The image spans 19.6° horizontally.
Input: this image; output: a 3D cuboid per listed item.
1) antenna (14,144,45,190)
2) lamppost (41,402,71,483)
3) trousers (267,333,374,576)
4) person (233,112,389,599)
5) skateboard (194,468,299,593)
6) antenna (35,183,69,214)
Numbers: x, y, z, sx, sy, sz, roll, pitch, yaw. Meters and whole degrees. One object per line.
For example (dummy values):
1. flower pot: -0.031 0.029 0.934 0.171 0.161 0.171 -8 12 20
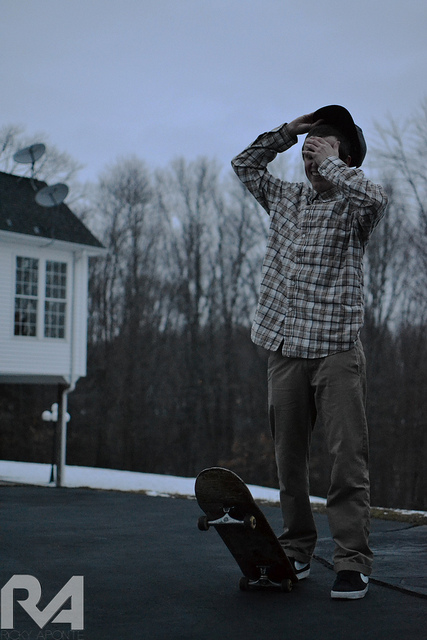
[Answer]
1. antenna: -2.397 -2.164 16.221 0.254 0.369 0.334 -23 -50 3
2. lamppost: -2.286 1.708 17.757 0.400 1.101 0.173 2 -42 -10
3. trousers: 0.746 0.911 8.424 0.406 1.620 0.748 4 -6 -45
4. person: 0.689 0.187 8.450 0.991 3.318 0.430 -2 -5 31
5. skateboard: 0.203 1.412 8.180 0.353 0.228 1.348 -9 -57 31
6. antenna: -2.204 -1.656 17.132 0.366 0.376 0.366 24 -37 33
